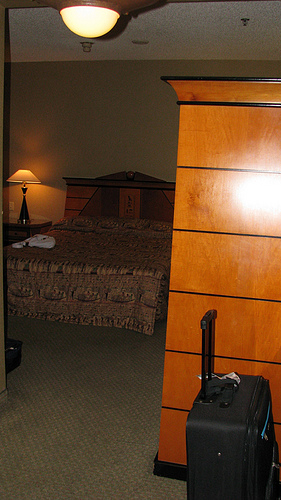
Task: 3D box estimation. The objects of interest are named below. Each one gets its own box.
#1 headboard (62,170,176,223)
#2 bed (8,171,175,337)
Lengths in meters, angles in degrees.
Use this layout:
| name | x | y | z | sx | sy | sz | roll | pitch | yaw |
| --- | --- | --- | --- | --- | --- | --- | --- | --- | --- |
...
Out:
| name | x | y | z | sx | sy | sz | roll | pitch | yaw |
| --- | --- | --- | --- | --- | --- | --- | --- | --- | --- |
| headboard | -0.257 | -0.774 | 5.255 | 0.964 | 0.690 | 0.102 | 5 | 18 | 10 |
| bed | -0.474 | -0.220 | 4.351 | 1.697 | 1.682 | 2.459 | 3 | 6 | 6 |
